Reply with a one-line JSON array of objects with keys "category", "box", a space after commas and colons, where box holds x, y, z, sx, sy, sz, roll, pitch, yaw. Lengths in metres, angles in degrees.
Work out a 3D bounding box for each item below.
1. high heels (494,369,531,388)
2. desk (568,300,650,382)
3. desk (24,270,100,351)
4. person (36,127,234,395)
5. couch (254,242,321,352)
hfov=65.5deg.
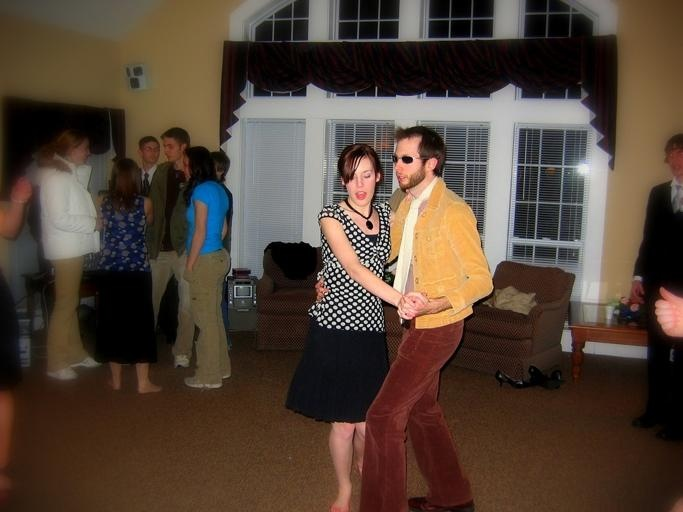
[{"category": "high heels", "box": [1.698, 1.212, 5.333, 0.375, 0.184, 0.137, -7, 2, 12]}, {"category": "desk", "box": [2.727, 0.743, 5.536, 0.662, 0.415, 1.024, -1, 11, 5]}, {"category": "desk", "box": [-3.046, 0.573, 5.823, 0.465, 0.598, 0.619, 2, -18, -19]}, {"category": "person", "box": [-2.166, 0.040, 4.816, 1.207, 2.310, 0.504, 5, 8, 22]}, {"category": "couch", "box": [-0.620, 0.483, 6.444, 0.935, 1.142, 0.985, 6, 5, 30]}]
